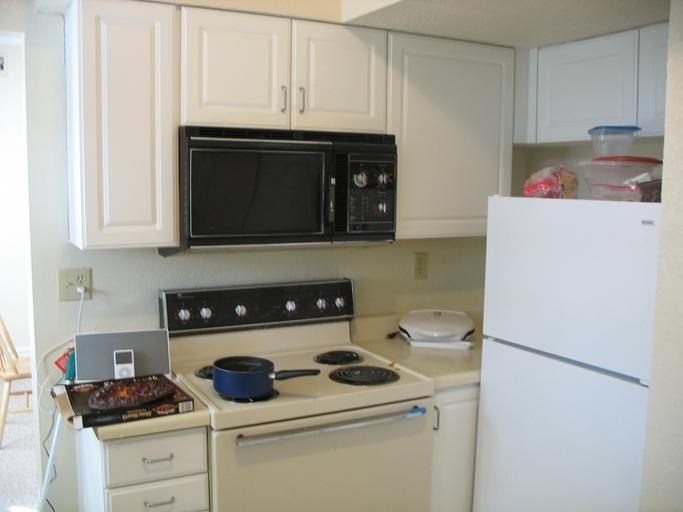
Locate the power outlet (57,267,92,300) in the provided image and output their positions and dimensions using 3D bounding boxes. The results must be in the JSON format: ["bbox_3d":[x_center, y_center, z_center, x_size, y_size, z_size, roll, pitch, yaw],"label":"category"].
[{"bbox_3d":[-1.195,0.119,2.497,0.136,0.160,0.020,0,0,-25],"label":"power outlet"}]

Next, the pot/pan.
[{"bbox_3d":[-0.326,0.483,2.243,0.333,0.118,0.196,4,-3,-10],"label":"pot/pan"}]

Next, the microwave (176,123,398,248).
[{"bbox_3d":[-0.215,-0.279,2.665,1.004,0.526,0.483,-1,-1,-13],"label":"microwave"}]
